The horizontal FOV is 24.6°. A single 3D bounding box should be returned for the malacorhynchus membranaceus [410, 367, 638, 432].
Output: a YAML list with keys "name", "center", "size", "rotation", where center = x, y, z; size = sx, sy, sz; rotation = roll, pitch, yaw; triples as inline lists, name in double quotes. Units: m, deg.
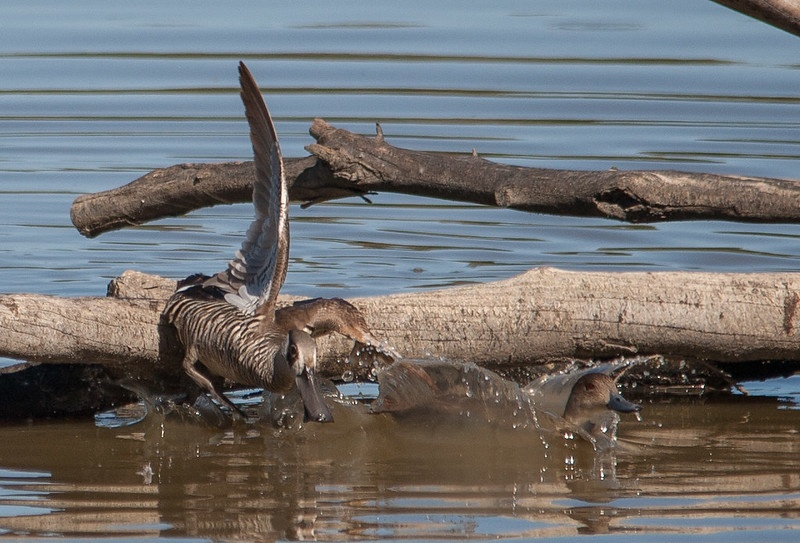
- name: "malacorhynchus membranaceus"
  center: [1.006, 1.191, 16.927]
  size: [2.172, 0.654, 0.727]
  rotation: [-2, 17, 9]
